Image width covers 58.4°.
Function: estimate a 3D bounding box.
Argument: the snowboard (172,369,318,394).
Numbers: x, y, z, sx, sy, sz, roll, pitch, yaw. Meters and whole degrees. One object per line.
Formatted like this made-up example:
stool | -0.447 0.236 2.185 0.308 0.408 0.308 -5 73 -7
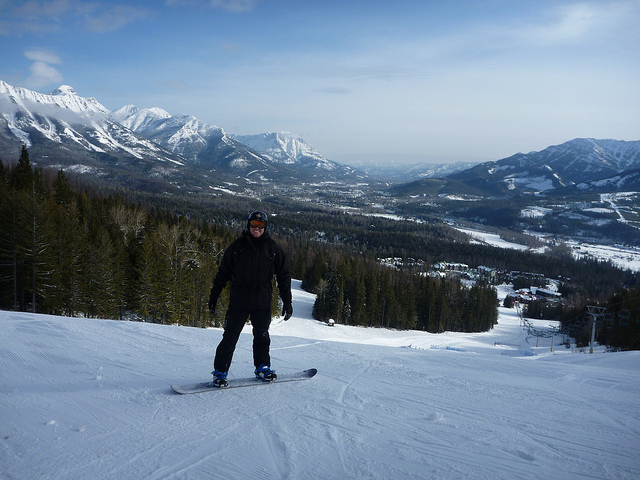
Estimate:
snowboard | -1.850 3.377 13.474 3.355 0.274 0.398 2 18 -20
